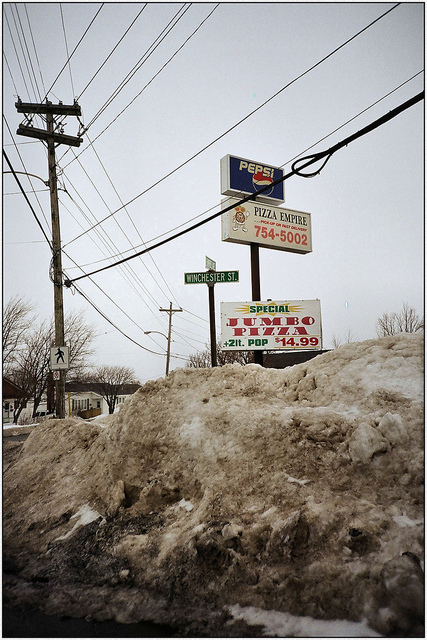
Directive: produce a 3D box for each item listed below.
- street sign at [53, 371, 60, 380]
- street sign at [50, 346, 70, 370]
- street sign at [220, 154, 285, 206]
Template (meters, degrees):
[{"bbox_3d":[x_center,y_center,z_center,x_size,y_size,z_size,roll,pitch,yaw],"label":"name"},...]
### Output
[{"bbox_3d":[-4.260,1.502,14.036,0.175,0.360,0.030,2,5,21],"label":"street sign"},{"bbox_3d":[-4.159,1.023,13.997,0.482,0.639,0.450,1,-5,-28],"label":"street sign"},{"bbox_3d":[1.234,-4.201,15.733,2.263,1.251,0.760,3,-7,-44],"label":"street sign"}]
